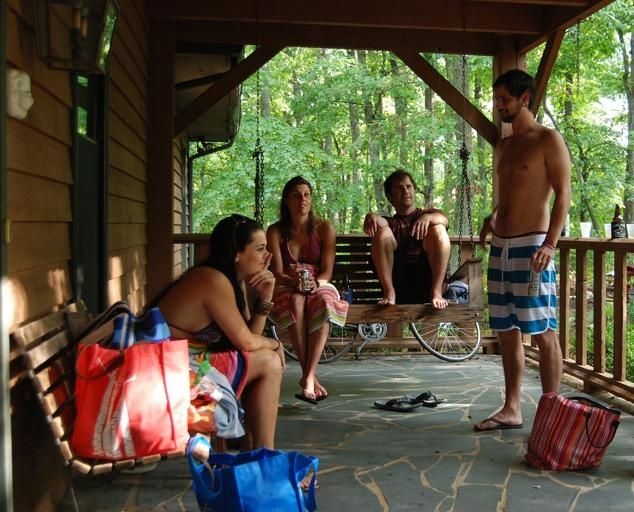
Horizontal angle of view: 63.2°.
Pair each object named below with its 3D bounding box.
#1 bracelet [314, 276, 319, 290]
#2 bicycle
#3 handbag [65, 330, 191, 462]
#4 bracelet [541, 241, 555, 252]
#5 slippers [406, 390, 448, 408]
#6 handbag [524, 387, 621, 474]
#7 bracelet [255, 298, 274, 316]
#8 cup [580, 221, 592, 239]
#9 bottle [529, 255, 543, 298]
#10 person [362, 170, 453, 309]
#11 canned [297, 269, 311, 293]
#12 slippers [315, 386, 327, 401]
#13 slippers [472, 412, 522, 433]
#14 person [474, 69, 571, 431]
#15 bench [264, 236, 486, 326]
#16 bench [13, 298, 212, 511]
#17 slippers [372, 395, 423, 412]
[{"bbox_3d":[0.003,0.213,3.996,0.021,0.060,0.062,-7,-22,13],"label":"bracelet"},{"bbox_3d":[0.678,0.812,5.561,2.198,1.319,1.015,1,-5,-1],"label":"bicycle"},{"bbox_3d":[-0.718,0.541,2.003,0.450,0.416,0.265,-1,2,1],"label":"handbag"},{"bbox_3d":[1.382,-0.054,3.065,0.110,0.055,0.048,-1,1,-23],"label":"bracelet"},{"bbox_3d":[0.823,1.063,3.858,0.231,0.075,0.116,1,-5,2],"label":"slippers"},{"bbox_3d":[1.428,0.924,2.940,0.447,0.435,0.561,10,12,18],"label":"handbag"},{"bbox_3d":[-0.286,0.282,2.850,0.079,0.083,0.095,9,-8,5],"label":"bracelet"},{"bbox_3d":[2.414,-0.233,4.615,0.080,0.132,0.389,0,1,25],"label":"cup"},{"bbox_3d":[1.327,0.168,3.132,0.077,0.158,0.041,0,1,23],"label":"bottle"},{"bbox_3d":[0.817,-0.173,4.620,0.757,1.325,0.952,-5,-14,28],"label":"person"},{"bbox_3d":[-0.091,0.189,3.891,0.094,0.170,0.129,0,1,-1],"label":"canned"},{"bbox_3d":[0.035,1.030,3.928,0.079,0.149,0.225,0,1,4],"label":"slippers"},{"bbox_3d":[1.168,1.072,3.328,0.300,0.083,0.116,3,-6,-6],"label":"slippers"},{"bbox_3d":[1.313,-0.036,3.272,0.540,2.267,0.394,0,1,31],"label":"person"},{"bbox_3d":[0.559,0.195,4.190,1.653,0.709,0.558,-3,7,-18],"label":"bench"},{"bbox_3d":[-0.920,0.503,2.333,0.556,0.502,1.049,3,1,-19],"label":"bench"},{"bbox_3d":[0.586,1.081,3.809,0.342,0.053,0.260,0,1,25],"label":"slippers"}]
